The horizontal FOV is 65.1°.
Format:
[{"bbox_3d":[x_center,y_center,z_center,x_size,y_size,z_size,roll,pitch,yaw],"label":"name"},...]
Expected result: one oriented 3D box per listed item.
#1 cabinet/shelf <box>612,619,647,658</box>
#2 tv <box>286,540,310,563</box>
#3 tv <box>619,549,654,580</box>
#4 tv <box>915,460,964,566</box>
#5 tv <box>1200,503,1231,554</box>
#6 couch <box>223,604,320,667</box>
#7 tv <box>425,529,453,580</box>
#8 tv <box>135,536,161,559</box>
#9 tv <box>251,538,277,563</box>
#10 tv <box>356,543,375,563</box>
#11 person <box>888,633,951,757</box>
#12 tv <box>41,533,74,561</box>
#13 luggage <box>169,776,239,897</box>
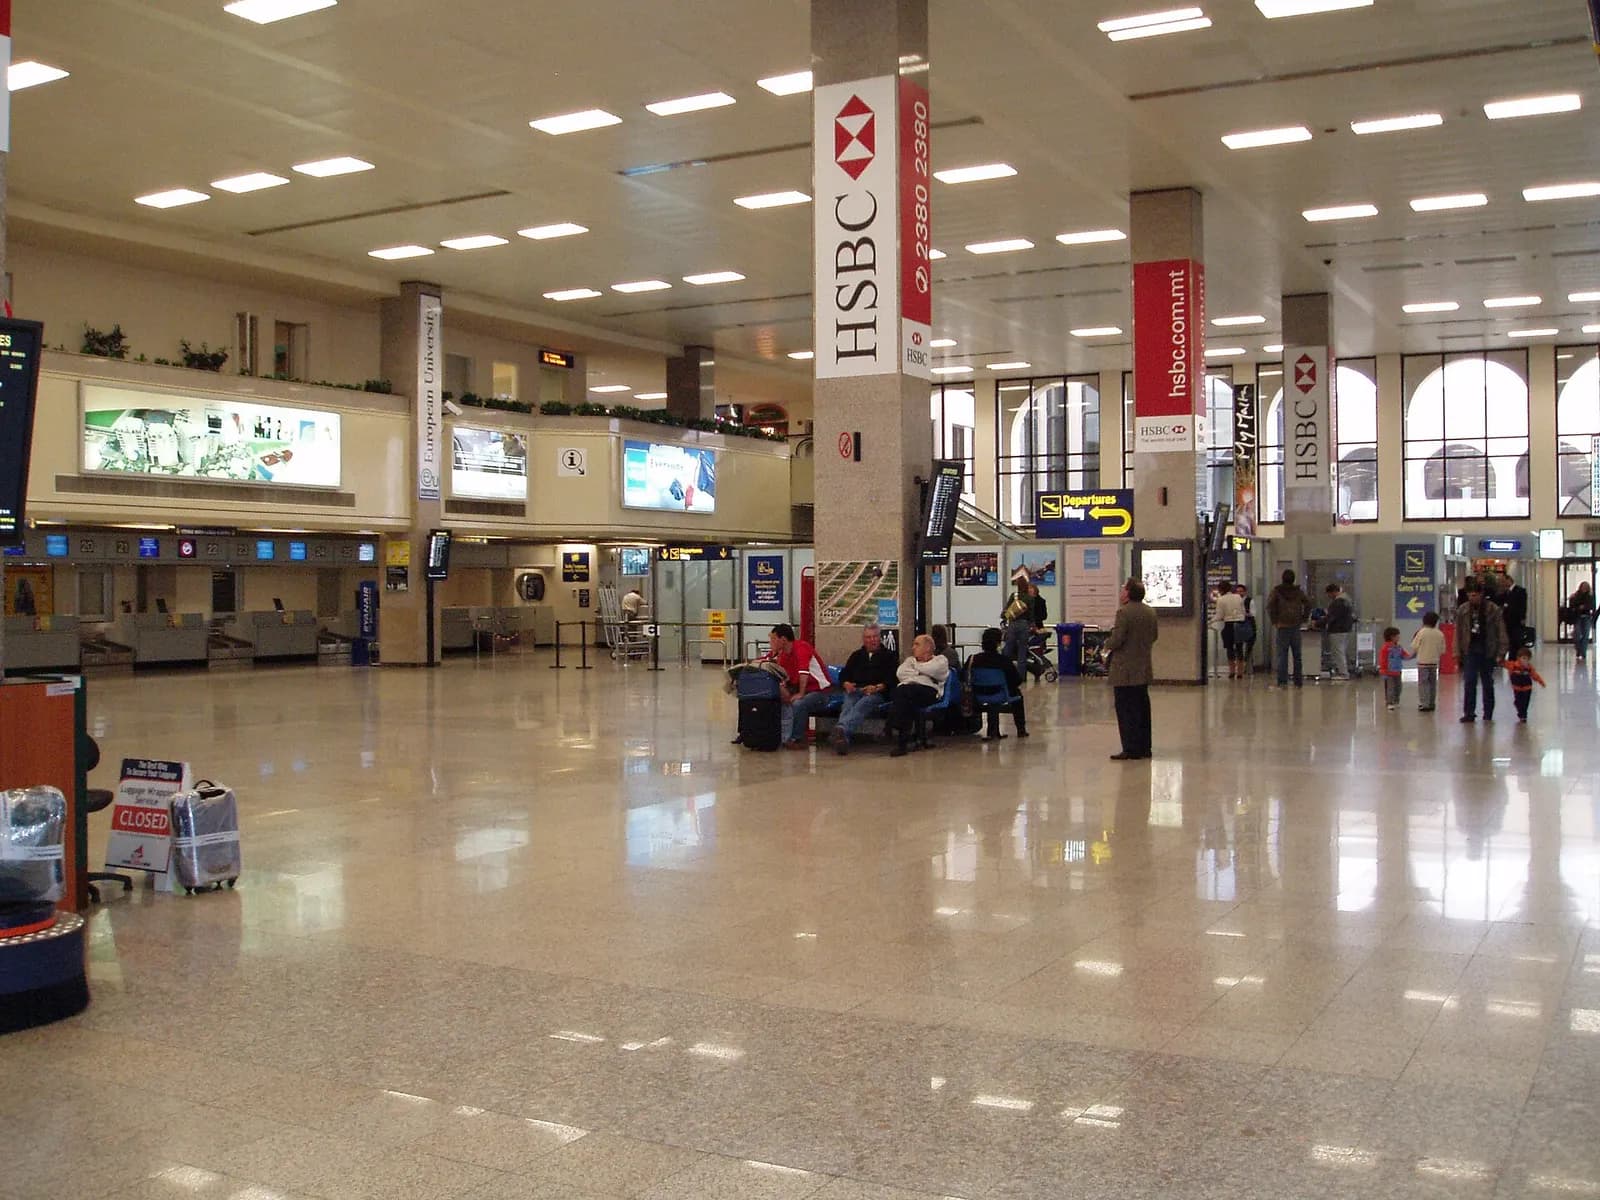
[{"bbox_3d":[-4.051,0.933,30.080,0.876,0.958,0.897,0,1,-13],"label":"cabinet/shelf"},{"bbox_3d":[-11.065,-1.092,27.725,0.407,0.393,0.092,6,-6,-44],"label":"tv"},{"bbox_3d":[-4.524,-0.992,34.433,0.111,0.841,0.870,1,0,39],"label":"tv"},{"bbox_3d":[1.563,-0.981,13.970,0.303,1.168,0.840,-1,1,28],"label":"tv"},{"bbox_3d":[7.156,-1.219,21.647,0.320,1.045,0.316,11,-9,-24],"label":"tv"},{"bbox_3d":[-11.752,0.570,27.615,1.094,1.060,1.596,5,3,35],"label":"couch"},{"bbox_3d":[-8.049,-1.016,27.863,0.498,0.982,0.426,-2,1,-18],"label":"tv"},{"bbox_3d":[-12.958,-1.055,25.034,0.098,0.391,0.404,-1,-3,38],"label":"tv"},{"bbox_3d":[-11.569,-1.101,27.175,0.418,0.429,0.404,2,0,-35],"label":"tv"},{"bbox_3d":[-9.906,-1.096,28.658,0.381,0.425,0.205,-2,1,-21],"label":"tv"},{"bbox_3d":[1.251,0.961,13.212,0.539,1.221,0.863,-1,1,37],"label":"person"},{"bbox_3d":[-13.983,-0.947,23.710,0.376,0.553,0.539,-6,-6,42],"label":"tv"},{"bbox_3d":[-3.662,1.472,7.742,0.370,0.659,0.312,-2,1,-29],"label":"luggage"}]
